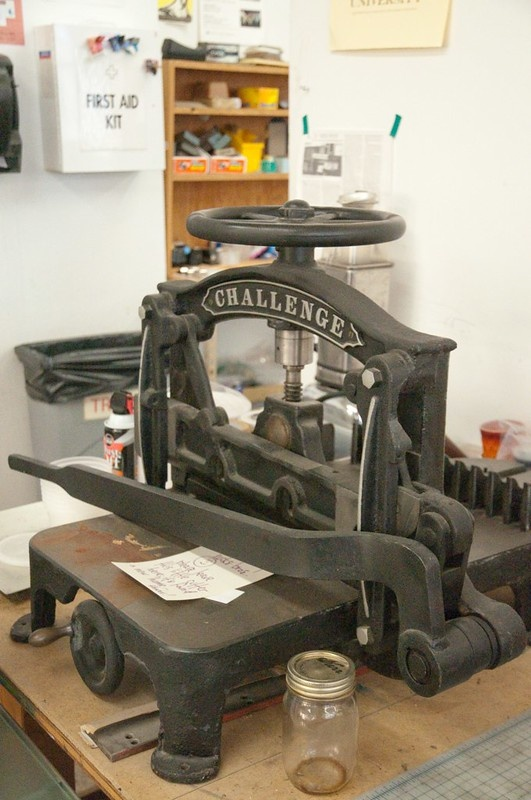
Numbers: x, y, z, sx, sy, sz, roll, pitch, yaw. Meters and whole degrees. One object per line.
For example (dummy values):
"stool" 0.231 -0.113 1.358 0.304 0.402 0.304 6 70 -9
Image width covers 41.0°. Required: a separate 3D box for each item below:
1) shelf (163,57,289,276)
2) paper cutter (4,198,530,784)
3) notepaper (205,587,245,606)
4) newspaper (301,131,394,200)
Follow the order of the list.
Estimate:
"shelf" -0.205 -1.480 3.944 0.608 1.662 0.501 -7 16 -23
"paper cutter" 0.025 0.040 1.119 0.628 0.631 0.873 -6 13 -37
"notepaper" -0.050 0.242 0.882 0.035 0.003 0.050 4 6 31
"newspaper" 0.215 -0.649 1.985 0.101 0.224 0.362 -2 6 -27
